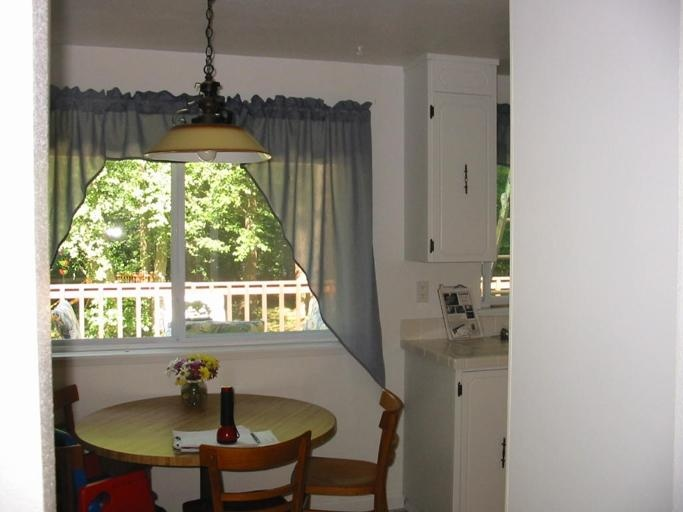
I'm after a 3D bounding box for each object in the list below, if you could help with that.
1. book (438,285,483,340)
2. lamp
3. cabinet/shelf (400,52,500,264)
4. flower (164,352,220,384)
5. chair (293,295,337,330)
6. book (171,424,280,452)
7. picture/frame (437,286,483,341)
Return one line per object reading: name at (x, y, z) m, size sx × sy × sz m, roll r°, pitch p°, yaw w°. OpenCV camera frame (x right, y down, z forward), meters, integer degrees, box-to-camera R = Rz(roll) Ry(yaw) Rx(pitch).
book at (0.730, 0.360, 3.987) m, size 0.257 × 0.400 × 0.039 m, roll -6°, pitch -15°, yaw -29°
lamp at (-0.600, -0.760, 2.667) m, size 0.468 × 0.768 × 0.949 m, roll -4°, pitch 3°, yaw -17°
cabinet/shelf at (0.637, -0.560, 3.750) m, size 0.588 × 1.203 × 0.300 m, roll -3°, pitch 3°, yaw 9°
flower at (-0.747, 0.562, 3.151) m, size 0.258 × 0.146 × 0.169 m, roll -2°, pitch 3°, yaw 30°
chair at (-0.146, 0.368, 4.040) m, size 0.205 × 0.356 × 0.155 m, roll -2°, pitch -4°, yaw 24°
book at (-0.493, 0.771, 2.699) m, size 0.440 × 0.048 × 0.305 m, roll -5°, pitch 3°, yaw -13°
picture/frame at (0.726, 0.369, 3.983) m, size 0.248 × 0.386 × 0.040 m, roll -7°, pitch -15°, yaw -29°
